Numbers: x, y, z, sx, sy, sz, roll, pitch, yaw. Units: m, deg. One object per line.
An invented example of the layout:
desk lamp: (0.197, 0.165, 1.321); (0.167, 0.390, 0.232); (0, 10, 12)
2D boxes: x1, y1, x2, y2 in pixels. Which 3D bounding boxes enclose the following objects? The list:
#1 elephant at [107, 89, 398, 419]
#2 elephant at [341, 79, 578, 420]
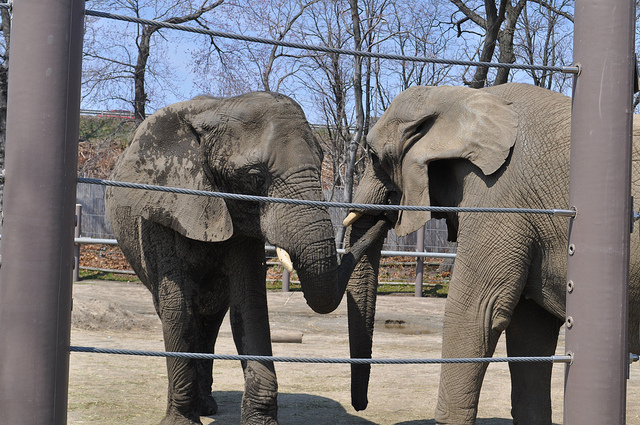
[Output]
elephant: (-0.407, 0.076, 5.631); (1.071, 1.599, 2.441); (1, -10, -32)
elephant: (0.747, 0.244, 5.604); (1.203, 1.941, 2.262); (3, -3, 0)
